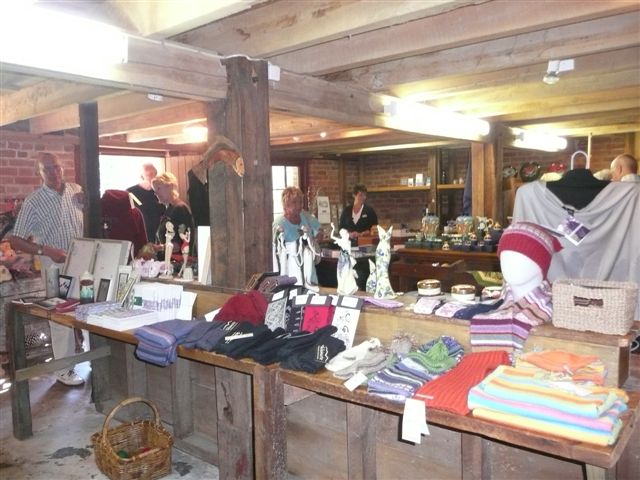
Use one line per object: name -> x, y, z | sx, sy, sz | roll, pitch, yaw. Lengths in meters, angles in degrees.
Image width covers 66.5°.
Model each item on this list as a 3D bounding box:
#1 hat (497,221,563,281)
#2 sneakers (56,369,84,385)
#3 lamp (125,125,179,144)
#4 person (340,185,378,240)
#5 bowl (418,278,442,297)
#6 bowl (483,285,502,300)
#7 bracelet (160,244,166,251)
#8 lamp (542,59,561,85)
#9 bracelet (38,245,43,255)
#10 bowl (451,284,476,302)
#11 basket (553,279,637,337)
hat -> 1.195, 0.050, 2.757 | 0.310, 0.266, 0.247 | 14, -9, 9
sneakers -> -2.709, 1.470, 5.268 | 0.300, 0.123, 0.149 | 1, 4, 29
lamp -> -2.583, -1.625, 7.603 | 0.486, 0.152, 1.678 | -2, 5, -41
person -> 0.591, -0.373, 7.853 | 0.722, 1.039, 0.613 | 2, 6, 22
bowl -> 0.716, 0.306, 3.176 | 0.143, 0.104, 0.209 | 1, 4, 8
bowl -> 1.226, 0.372, 3.478 | 0.139, 0.064, 0.180 | -2, -3, 27
bracelet -> -1.463, 0.065, 4.520 | 0.070, 0.049, 0.068 | 0, 2, -27
lamp -> 2.110, -1.537, 4.423 | 0.123, 0.177, 0.360 | 3, 4, 25
bracelet -> -2.789, 0.097, 4.849 | 0.050, 0.073, 0.074 | 6, 35, -14
bowl -> 0.894, 0.317, 3.010 | 0.114, 0.077, 0.113 | 0, 3, 0
basket -> 1.364, 0.337, 2.449 | 0.409, 0.261, 0.256 | 2, 1, 35
